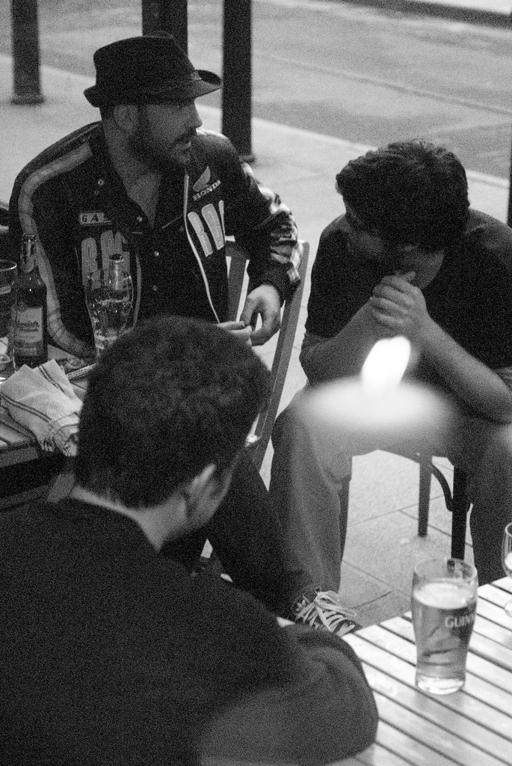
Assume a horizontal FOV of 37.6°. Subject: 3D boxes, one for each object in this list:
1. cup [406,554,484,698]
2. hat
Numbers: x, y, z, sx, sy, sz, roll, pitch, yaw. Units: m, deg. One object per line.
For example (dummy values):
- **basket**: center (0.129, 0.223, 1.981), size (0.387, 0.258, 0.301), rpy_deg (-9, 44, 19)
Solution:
- **cup**: center (0.229, 0.300, 0.927), size (0.083, 0.138, 0.087), rpy_deg (-1, 9, 0)
- **hat**: center (-0.281, -0.780, 1.884), size (0.350, 0.127, 0.246), rpy_deg (-8, 16, -3)
